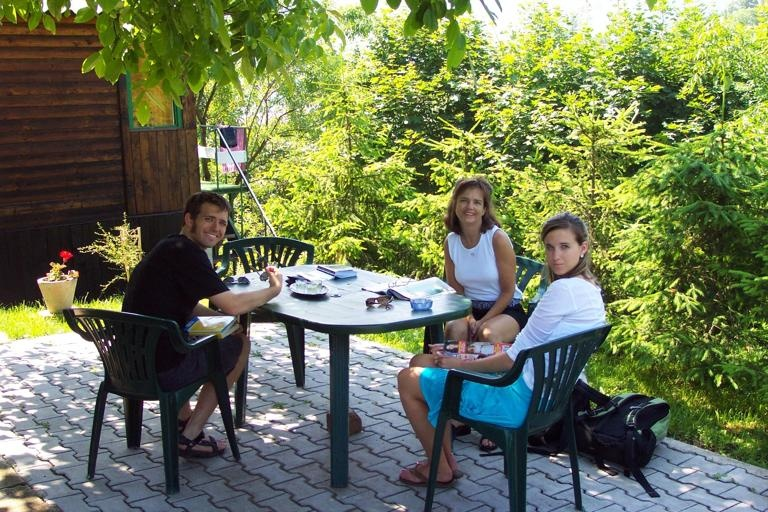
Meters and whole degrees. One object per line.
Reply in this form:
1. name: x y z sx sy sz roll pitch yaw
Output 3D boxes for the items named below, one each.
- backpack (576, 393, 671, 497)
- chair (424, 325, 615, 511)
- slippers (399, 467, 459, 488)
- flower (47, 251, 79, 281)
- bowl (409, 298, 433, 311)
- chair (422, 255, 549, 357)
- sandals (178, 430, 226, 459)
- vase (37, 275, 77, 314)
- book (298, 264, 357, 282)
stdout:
1. backpack: 1.894 1.383 4.551 0.900 0.323 0.645 -23 20 -34
2. chair: 0.881 1.100 3.716 1.129 1.363 0.631 3 11 -5
3. slippers: 0.327 1.619 4.161 0.387 0.086 0.190 3 6 18
4. flower: -4.784 0.149 8.456 0.489 0.408 0.448 0 9 -15
5. bowl: 0.281 0.364 4.240 0.113 0.040 0.098 -5 5 -6
6. chair: 1.137 0.448 5.597 1.016 1.221 0.993 0 2 -21
7. sandals: -1.432 1.486 4.480 0.330 0.099 0.170 0 6 -21
8. vase: -4.655 0.503 8.056 0.660 0.473 0.566 0 -5 -14
9. book: -0.475 0.156 5.226 0.269 0.057 0.254 10 12 42
